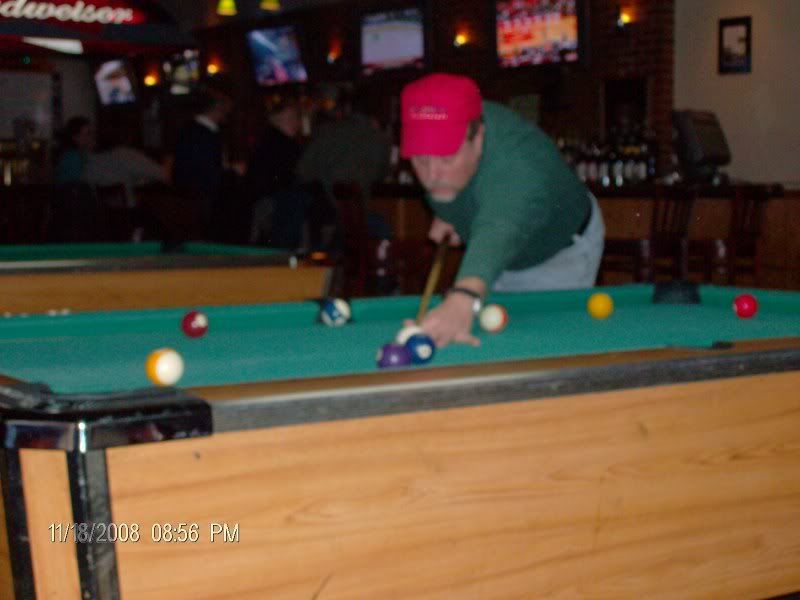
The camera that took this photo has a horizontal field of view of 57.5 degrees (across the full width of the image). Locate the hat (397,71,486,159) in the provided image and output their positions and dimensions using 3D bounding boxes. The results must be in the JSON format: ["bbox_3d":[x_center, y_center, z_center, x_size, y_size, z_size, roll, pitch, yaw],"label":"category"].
[{"bbox_3d":[0.142,-0.620,2.429,0.273,0.282,0.235,2,11,-1],"label":"hat"}]

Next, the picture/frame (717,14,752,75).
[{"bbox_3d":[3.663,-2.792,7.969,0.058,0.599,0.402,-7,14,-37],"label":"picture/frame"}]

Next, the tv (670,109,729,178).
[{"bbox_3d":[2.706,-1.410,6.520,0.309,0.652,0.556,9,17,35],"label":"tv"}]

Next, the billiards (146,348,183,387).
[{"bbox_3d":[-0.491,0.137,1.534,0.072,0.085,0.073,2,4,2],"label":"billiards"}]

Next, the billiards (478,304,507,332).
[{"bbox_3d":[0.256,0.051,2.007,0.071,0.074,0.050,16,-1,23],"label":"billiards"}]

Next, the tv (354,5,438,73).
[{"bbox_3d":[-0.032,-2.715,7.683,0.554,0.750,0.993,-4,3,-44],"label":"tv"}]

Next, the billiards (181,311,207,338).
[{"bbox_3d":[-0.575,0.066,2.042,0.069,0.068,0.025,0,-5,-17],"label":"billiards"}]

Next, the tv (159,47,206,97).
[{"bbox_3d":[-2.284,-2.410,7.664,0.120,0.447,0.459,10,21,44],"label":"tv"}]

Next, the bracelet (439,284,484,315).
[{"bbox_3d":[0.177,-0.007,2.065,0.088,0.035,0.077,19,10,-33],"label":"bracelet"}]

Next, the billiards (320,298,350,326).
[{"bbox_3d":[-0.195,0.033,2.221,0.084,0.082,0.045,-4,3,-19],"label":"billiards"}]

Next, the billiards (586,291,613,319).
[{"bbox_3d":[0.644,0.021,2.372,0.079,0.081,0.077,12,-29,-1],"label":"billiards"}]
